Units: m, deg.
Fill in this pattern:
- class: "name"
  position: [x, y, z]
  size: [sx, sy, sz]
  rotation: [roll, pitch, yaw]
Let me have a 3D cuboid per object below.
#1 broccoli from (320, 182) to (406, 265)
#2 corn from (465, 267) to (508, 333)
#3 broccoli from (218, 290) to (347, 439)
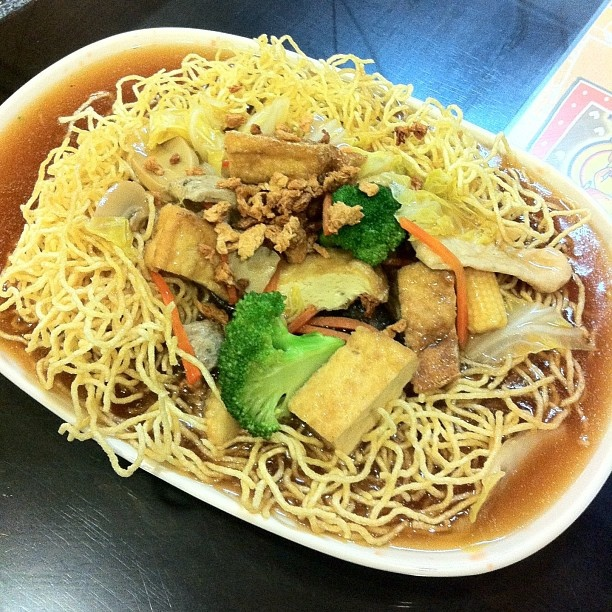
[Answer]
- class: "broccoli"
  position: [0.240, -0.280, 2.265]
  size: [0.341, 0.084, 0.268]
  rotation: [-26, 95, -16]
- class: "corn"
  position: [0.658, -0.018, 2.429]
  size: [0.176, 0.088, 0.233]
  rotation: [1, 70, -9]
- class: "broccoli"
  position: [-0.152, 0.194, 2.235]
  size: [0.380, 0.186, 0.507]
  rotation: [32, 82, 4]
